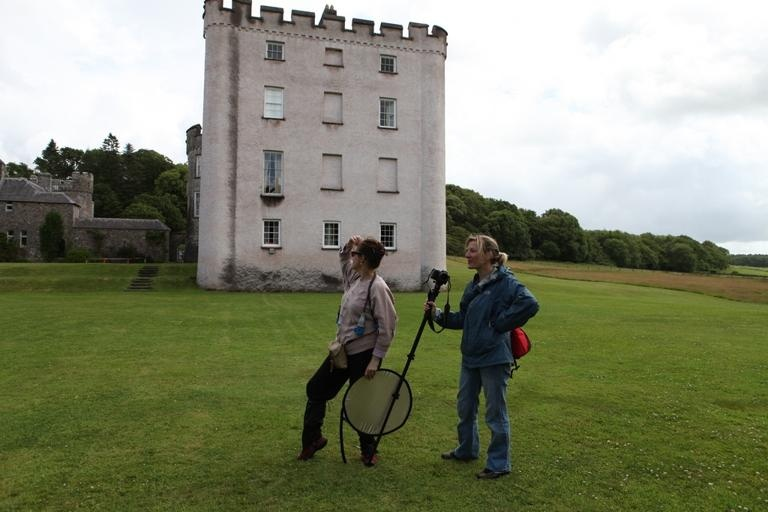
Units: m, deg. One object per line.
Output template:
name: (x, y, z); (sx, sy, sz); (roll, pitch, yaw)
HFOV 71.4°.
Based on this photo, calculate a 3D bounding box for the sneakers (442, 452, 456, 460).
sneakers: (0.975, 3.031, 8.068); (0.086, 0.086, 0.200); (4, -3, -36)

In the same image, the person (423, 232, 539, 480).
person: (1.488, 1.432, 7.795); (1.148, 3.377, 0.784); (8, 12, 40)

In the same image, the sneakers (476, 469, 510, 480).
sneakers: (1.553, 3.091, 7.646); (0.441, 0.162, 0.162); (4, -7, -14)

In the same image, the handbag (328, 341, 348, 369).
handbag: (-0.673, 1.461, 7.839); (0.363, 0.442, 0.225); (-5, -7, 40)

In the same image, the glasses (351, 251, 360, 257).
glasses: (-0.442, -0.031, 7.908); (0.086, 0.065, 0.085); (9, -10, -44)
